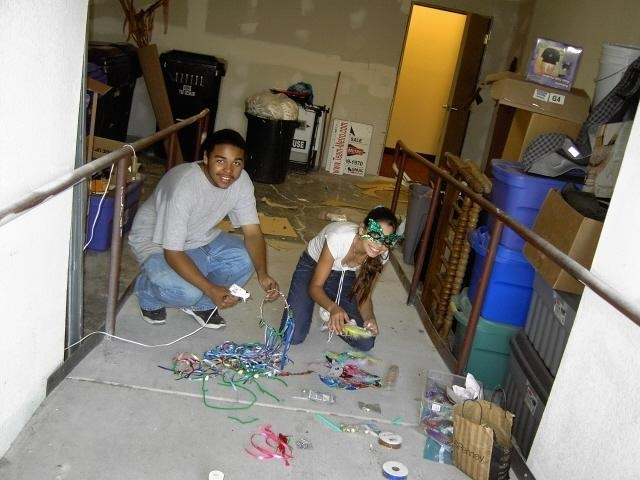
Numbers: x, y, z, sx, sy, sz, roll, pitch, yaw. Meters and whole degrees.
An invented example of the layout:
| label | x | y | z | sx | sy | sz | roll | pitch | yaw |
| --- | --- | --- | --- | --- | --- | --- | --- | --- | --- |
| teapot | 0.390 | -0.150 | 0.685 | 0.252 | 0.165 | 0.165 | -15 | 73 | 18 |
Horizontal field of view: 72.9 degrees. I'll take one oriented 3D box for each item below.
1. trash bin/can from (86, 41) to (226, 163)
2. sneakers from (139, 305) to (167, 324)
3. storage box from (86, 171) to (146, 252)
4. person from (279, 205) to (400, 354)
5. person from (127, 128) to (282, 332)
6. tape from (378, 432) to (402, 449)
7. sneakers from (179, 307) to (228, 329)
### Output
| label | x | y | z | sx | sy | sz | roll | pitch | yaw |
| --- | --- | --- | --- | --- | --- | --- | --- | --- | --- |
| trash bin/can | -2.201 | -2.003 | 5.907 | 1.799 | 1.437 | 1.319 | 12 | 18 | -18 |
| sneakers | -0.963 | 0.445 | 2.521 | 0.136 | 0.079 | 0.101 | -3 | 24 | -23 |
| storage box | -1.434 | -0.188 | 2.997 | 0.277 | 0.372 | 0.531 | 17 | 18 | -7 |
| person | 0.080 | 0.213 | 2.522 | 0.569 | 0.915 | 0.587 | -1 | 22 | -16 |
| person | -0.678 | -0.049 | 2.493 | 0.775 | 1.115 | 0.742 | -4 | 24 | -25 |
| tape | 0.307 | 0.882 | 1.912 | 0.107 | 0.030 | 0.075 | 5 | 22 | -4 |
| sneakers | -0.693 | 0.441 | 2.578 | 0.249 | 0.112 | 0.097 | 32 | 10 | 6 |
